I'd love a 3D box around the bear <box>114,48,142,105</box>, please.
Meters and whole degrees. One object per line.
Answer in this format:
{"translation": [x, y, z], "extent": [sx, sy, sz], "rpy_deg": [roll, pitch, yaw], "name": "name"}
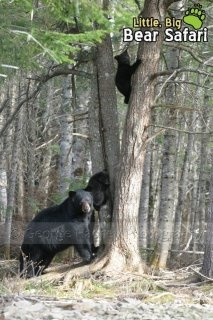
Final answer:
{"translation": [0.360, -1.538, 11.106], "extent": [0.467, 1.029, 0.787], "rpy_deg": [4, -3, -1], "name": "bear"}
